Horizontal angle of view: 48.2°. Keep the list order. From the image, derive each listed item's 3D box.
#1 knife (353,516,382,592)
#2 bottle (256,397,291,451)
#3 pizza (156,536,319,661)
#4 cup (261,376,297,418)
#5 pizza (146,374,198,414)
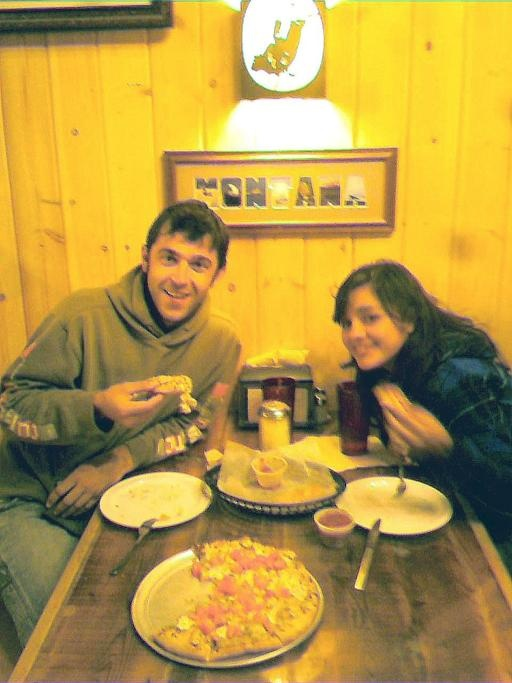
[{"bbox_3d":[0.191,0.345,0.955,0.026,0.022,0.156,37,30,5],"label":"knife"},{"bbox_3d":[0.043,0.201,1.383,0.073,0.115,0.074,1,15,0],"label":"bottle"},{"bbox_3d":[-0.018,0.397,0.911,0.227,0.028,0.280,7,10,-3],"label":"pizza"},{"bbox_3d":[0.053,0.127,1.439,0.087,0.104,0.090,0,15,0],"label":"cup"},{"bbox_3d":[-0.216,0.135,1.552,0.090,0.058,0.122,11,-1,-15],"label":"pizza"}]
